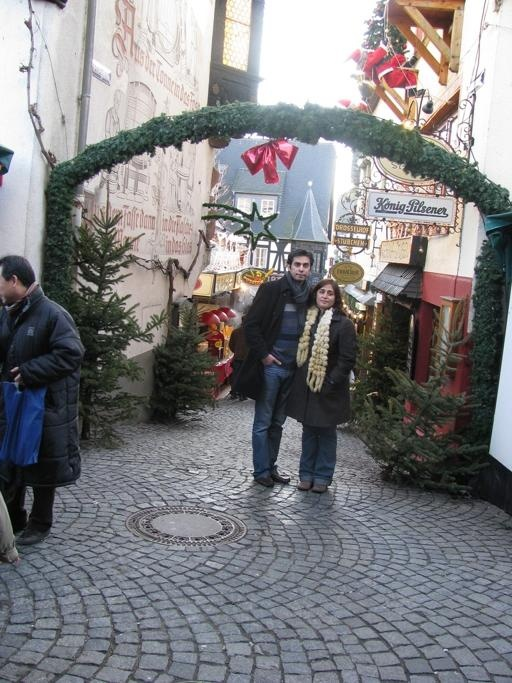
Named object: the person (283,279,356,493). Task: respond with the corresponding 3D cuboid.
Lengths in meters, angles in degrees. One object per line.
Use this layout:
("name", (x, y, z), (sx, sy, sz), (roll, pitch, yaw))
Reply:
("person", (0.641, 0.443, 5.069), (0.621, 1.853, 0.433), (6, -2, 10))
